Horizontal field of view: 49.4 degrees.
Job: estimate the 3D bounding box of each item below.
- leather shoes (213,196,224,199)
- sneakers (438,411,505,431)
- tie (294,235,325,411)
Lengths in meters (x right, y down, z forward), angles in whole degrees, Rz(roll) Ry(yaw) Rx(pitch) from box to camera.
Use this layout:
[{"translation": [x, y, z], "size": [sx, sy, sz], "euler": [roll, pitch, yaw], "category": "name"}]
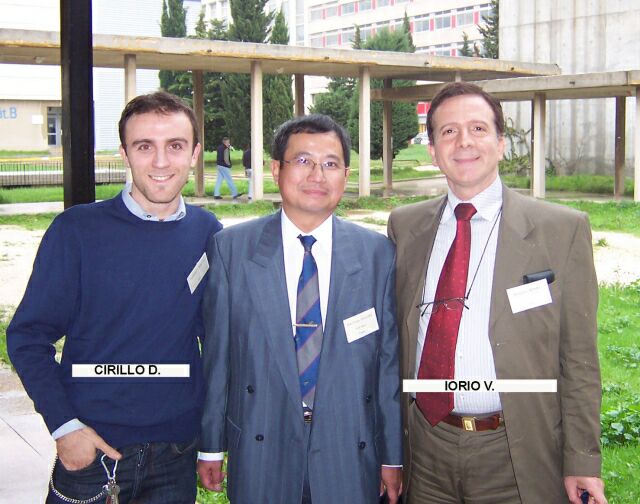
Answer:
[{"translation": [-3.096, -1.652, 21.121], "size": [0.225, 0.118, 0.079], "euler": [-5, 4, -14], "category": "leather shoes"}, {"translation": [0.733, 0.812, 3.335], "size": [0.279, 0.080, 0.037], "euler": [0, 10, 7], "category": "sneakers"}, {"translation": [-0.054, 0.310, 3.242], "size": [0.105, 0.744, 0.080], "euler": [0, -3, -6], "category": "tie"}]
